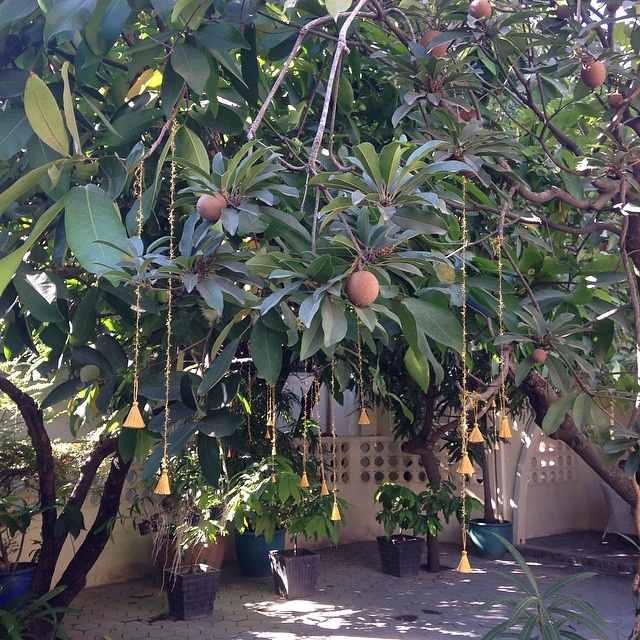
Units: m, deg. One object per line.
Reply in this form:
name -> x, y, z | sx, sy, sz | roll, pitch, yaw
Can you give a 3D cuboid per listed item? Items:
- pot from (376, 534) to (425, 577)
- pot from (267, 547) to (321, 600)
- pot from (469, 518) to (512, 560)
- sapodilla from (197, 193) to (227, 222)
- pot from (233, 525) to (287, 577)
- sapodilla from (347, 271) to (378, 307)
pot -> 0.900, 2.638, 6.599 | 0.423, 0.341, 0.491 | 6, -16, -19
pot -> -0.228, 2.415, 5.648 | 0.460, 0.352, 0.478 | 0, -19, 0
pot -> 2.162, 2.757, 7.454 | 0.580, 0.401, 0.553 | 0, -10, 0
sapodilla -> -0.181, -0.188, 0.994 | 0.049, 0.053, 0.045 | 5, 10, 3
pot -> -0.681, 2.659, 6.794 | 0.713, 0.480, 0.675 | 0, -15, 0
sapodilla -> 0.063, -0.045, 0.861 | 0.047, 0.051, 0.036 | 4, -11, -23
